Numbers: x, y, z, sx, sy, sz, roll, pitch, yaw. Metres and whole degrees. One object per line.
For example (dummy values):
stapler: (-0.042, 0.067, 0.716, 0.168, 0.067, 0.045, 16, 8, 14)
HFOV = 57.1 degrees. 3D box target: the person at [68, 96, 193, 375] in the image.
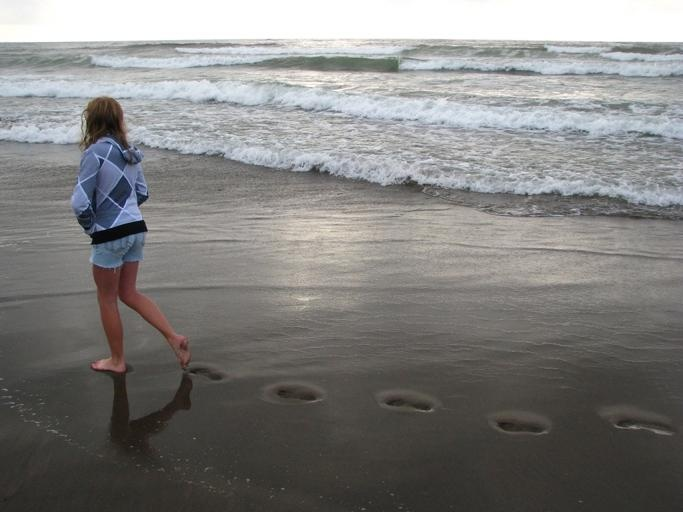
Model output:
person: (-1.645, -0.131, 4.890, 0.755, 2.167, 0.534, -4, 20, -16)
